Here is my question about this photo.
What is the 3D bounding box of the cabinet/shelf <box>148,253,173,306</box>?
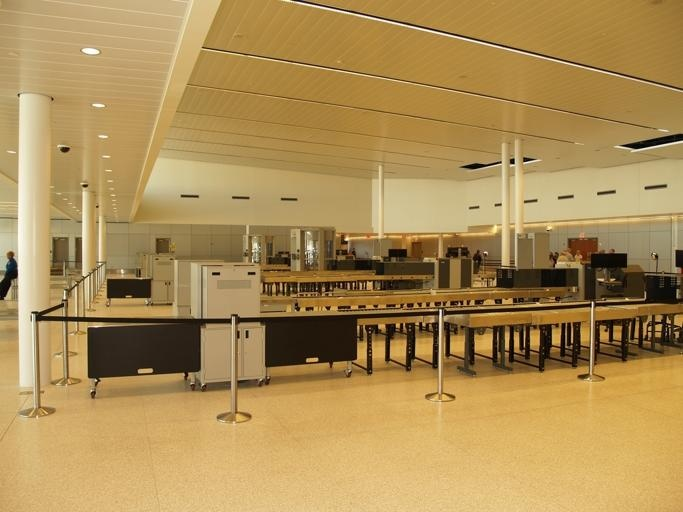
[{"bbox_3d":[-5.414,0.738,16.045,0.643,1.517,0.606,-1,5,-14],"label":"cabinet/shelf"}]

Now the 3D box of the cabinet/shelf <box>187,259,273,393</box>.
[{"bbox_3d":[-1.500,0.983,7.261,1.015,1.730,0.693,-1,5,-14],"label":"cabinet/shelf"}]
